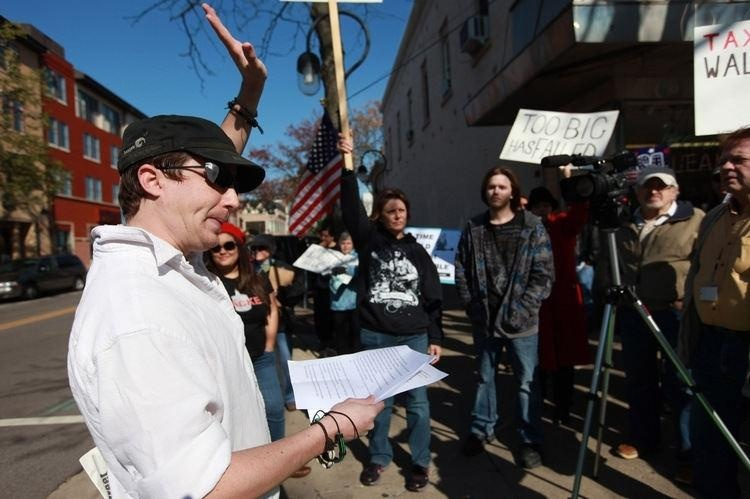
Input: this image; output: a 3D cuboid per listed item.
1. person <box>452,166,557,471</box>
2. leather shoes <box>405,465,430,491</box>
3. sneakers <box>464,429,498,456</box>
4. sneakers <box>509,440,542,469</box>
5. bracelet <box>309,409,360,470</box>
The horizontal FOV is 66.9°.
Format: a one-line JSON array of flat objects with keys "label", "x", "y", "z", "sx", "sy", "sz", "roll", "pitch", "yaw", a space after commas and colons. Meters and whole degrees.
[{"label": "person", "x": 1.335, "y": 0.632, "z": 6.009, "sx": 1.031, "sy": 2.892, "sz": 1.131, "roll": 2, "pitch": 13, "yaw": 18}, {"label": "leather shoes", "x": 0.411, "y": 2.224, "z": 5.623, "sx": 0.248, "sy": 0.207, "sz": 0.258, "roll": 1, "pitch": 13, "yaw": 16}, {"label": "sneakers", "x": 1.123, "y": 2.072, "z": 6.040, "sx": 0.151, "sy": 0.176, "sz": 0.391, "roll": -20, "pitch": -26, "yaw": 40}, {"label": "sneakers", "x": 1.552, "y": 2.082, "z": 5.798, "sx": 0.167, "sy": 0.138, "sz": 0.295, "roll": -3, "pitch": 1, "yaw": 1}, {"label": "bracelet", "x": -0.260, "y": 1.276, "z": 3.720, "sx": 0.331, "sy": 0.434, "sz": 0.134, "roll": 8, "pitch": 10, "yaw": 41}]
